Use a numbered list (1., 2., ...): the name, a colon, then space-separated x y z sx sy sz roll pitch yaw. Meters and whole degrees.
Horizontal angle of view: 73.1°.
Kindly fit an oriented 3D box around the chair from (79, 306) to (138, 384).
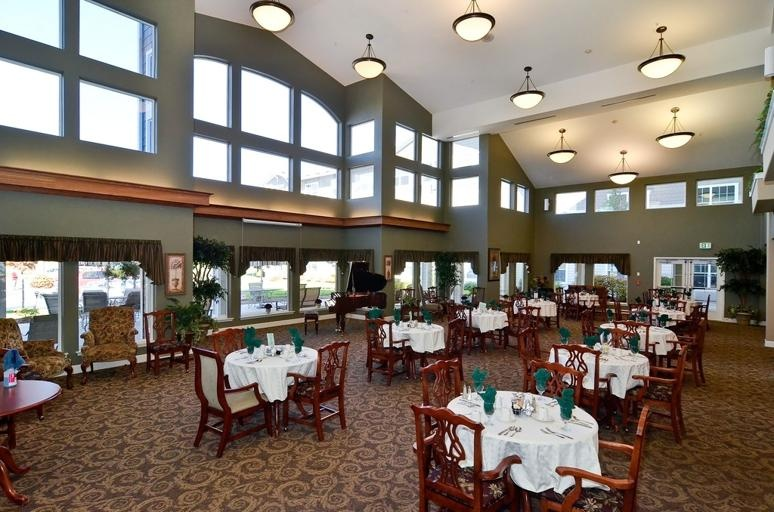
1. chair: -7.047 2.150 13.280 1.525 2.197 1.632 0 -6 -26

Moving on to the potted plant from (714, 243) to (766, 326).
1. potted plant: 12.945 0.963 18.942 1.378 2.692 0.750 -3 -2 36

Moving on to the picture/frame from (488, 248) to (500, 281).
1. picture/frame: 4.256 0.322 20.819 0.141 1.502 1.303 -1 -2 31

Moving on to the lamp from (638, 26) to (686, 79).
1. lamp: 7.407 -5.508 14.043 1.145 1.294 1.193 -2 -2 23

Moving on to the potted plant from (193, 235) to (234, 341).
1. potted plant: -5.273 0.920 15.627 0.795 3.016 0.933 4 1 -37

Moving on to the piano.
1. piano: -0.972 1.296 17.829 2.139 2.509 1.720 1 -3 -21

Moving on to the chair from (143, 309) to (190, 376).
1. chair: -5.744 2.113 13.530 0.960 1.854 1.003 4 0 -39

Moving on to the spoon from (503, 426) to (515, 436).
1. spoon: 2.045 2.893 8.653 0.141 0.102 0.230 -5 -4 40
